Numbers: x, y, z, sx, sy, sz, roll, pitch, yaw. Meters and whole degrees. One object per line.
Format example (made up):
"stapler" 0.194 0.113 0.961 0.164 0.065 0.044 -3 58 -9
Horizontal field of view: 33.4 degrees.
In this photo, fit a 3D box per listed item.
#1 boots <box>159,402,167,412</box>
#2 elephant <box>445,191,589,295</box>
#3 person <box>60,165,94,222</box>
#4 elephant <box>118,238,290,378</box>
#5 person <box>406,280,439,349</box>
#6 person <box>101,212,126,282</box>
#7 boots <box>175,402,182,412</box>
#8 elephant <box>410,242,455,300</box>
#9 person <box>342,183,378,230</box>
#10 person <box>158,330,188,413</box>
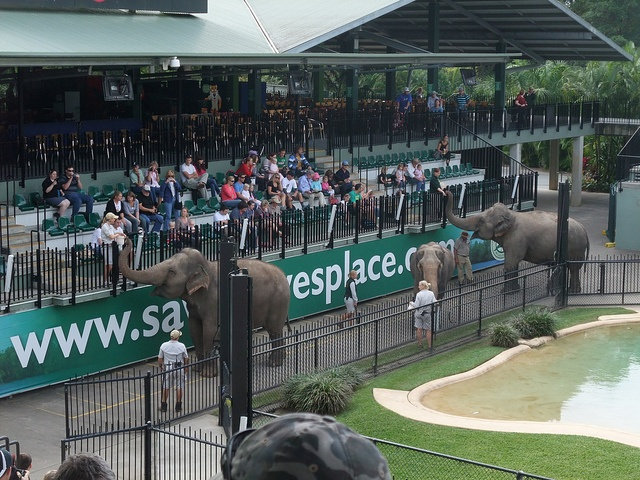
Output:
"boots" -3.799 4.048 25.909 0.190 0.284 0.169 1 1 -43
"elephant" 6.750 0.207 35.090 4.300 2.551 2.645 2 15 1
"person" -7.083 -1.366 30.980 0.581 1.706 0.796 12 14 29
"elephant" -2.862 1.847 28.107 4.081 2.964 2.579 1 14 -4
"person" 2.882 2.103 29.891 0.638 1.880 0.879 0 1 -23
"person" -5.673 0.267 28.966 0.478 1.957 0.612 1 0 -39
"boots" -3.442 4.073 26.012 0.163 0.285 0.145 2 1 -41
"elephant" 3.347 0.780 32.100 0.683 1.430 2.161 0 2 9
"person" 1.152 -1.084 35.096 1.115 1.564 0.774 -10 16 -44
"person" -3.594 3.150 26.083 0.591 2.142 0.553 0 18 -12
